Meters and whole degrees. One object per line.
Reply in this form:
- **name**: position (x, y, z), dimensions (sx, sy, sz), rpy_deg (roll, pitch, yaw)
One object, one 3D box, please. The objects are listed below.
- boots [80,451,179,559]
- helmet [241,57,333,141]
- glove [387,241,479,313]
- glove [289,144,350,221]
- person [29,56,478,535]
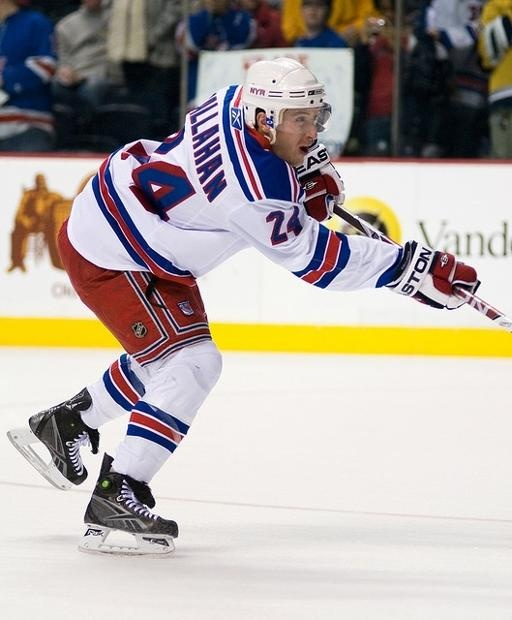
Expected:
- **boots**: position (-0.314, 0.494, 2.153), dimensions (0.239, 0.215, 0.169), rpy_deg (1, 6, -1)
- **helmet**: position (0.095, -0.541, 2.168), dimensions (0.272, 0.195, 0.195), rpy_deg (2, 12, 13)
- **glove**: position (0.454, -0.081, 2.222), dimensions (0.274, 0.132, 0.104), rpy_deg (20, -4, -6)
- **glove**: position (0.173, -0.366, 2.472), dimensions (0.217, 0.218, 0.108), rpy_deg (-10, 17, -18)
- **person**: position (-0.095, -0.042, 2.198), dimensions (1.130, 1.189, 0.431), rpy_deg (3, 7, 10)
